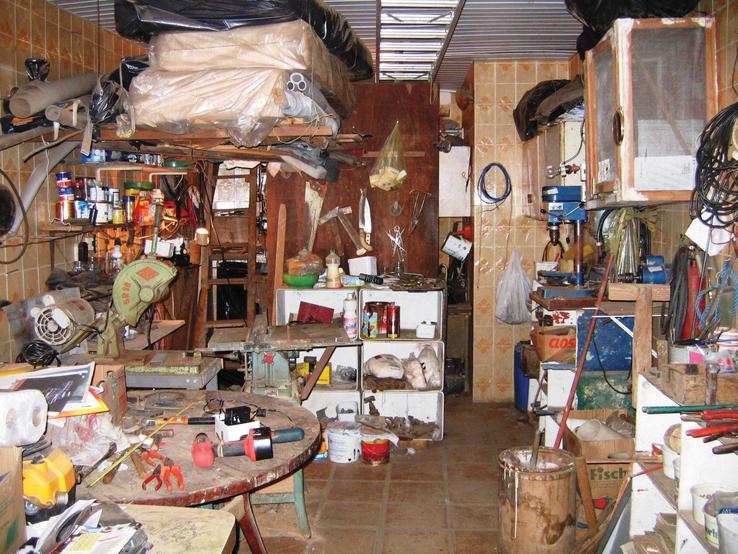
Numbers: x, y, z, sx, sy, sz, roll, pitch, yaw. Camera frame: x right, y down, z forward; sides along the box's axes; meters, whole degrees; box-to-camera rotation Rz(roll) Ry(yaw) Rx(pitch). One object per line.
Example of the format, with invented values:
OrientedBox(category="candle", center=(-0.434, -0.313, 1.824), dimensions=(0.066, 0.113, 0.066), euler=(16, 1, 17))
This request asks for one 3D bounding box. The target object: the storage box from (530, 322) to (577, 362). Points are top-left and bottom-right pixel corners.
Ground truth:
OrientedBox(category="storage box", center=(1.583, 0.570, 5.809), dimensions=(0.393, 0.303, 0.345), euler=(-3, 14, -9))

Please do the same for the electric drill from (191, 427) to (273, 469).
OrientedBox(category="electric drill", center=(-0.686, 0.870, 3.474), dimensions=(0.395, 0.175, 0.213), euler=(-7, 16, -12))

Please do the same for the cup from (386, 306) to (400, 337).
OrientedBox(category="cup", center=(0.207, 0.397, 6.071), dimensions=(0.110, 0.263, 0.118), euler=(0, 9, 0))

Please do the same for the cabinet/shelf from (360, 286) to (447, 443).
OrientedBox(category="cabinet/shelf", center=(0.212, 0.569, 6.597), dimensions=(0.818, 1.563, 0.532), euler=(-2, -36, 9))

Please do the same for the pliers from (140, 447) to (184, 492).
OrientedBox(category="pliers", center=(-1.002, 0.929, 3.299), dimensions=(0.104, 0.183, 0.307), euler=(23, -5, -36))

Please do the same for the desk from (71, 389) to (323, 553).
OrientedBox(category="desk", center=(-0.856, 1.077, 3.770), dimensions=(1.209, 0.963, 1.098), euler=(3, 9, -8))

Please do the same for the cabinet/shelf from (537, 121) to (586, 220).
OrientedBox(category="cabinet/shelf", center=(1.807, -0.983, 6.443), dimensions=(0.281, 0.898, 0.919), euler=(-2, 4, -1))

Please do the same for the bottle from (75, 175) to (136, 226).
OrientedBox(category="bottle", center=(-2.282, -0.643, 5.952), dimensions=(0.271, 0.358, 0.472), euler=(3, 7, 4))
